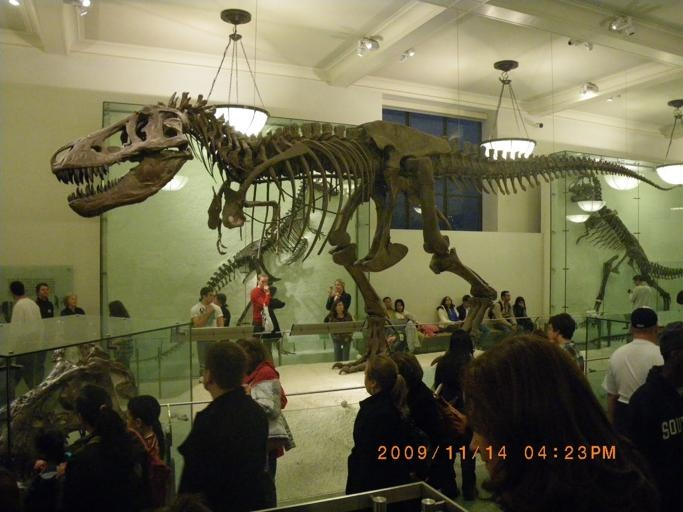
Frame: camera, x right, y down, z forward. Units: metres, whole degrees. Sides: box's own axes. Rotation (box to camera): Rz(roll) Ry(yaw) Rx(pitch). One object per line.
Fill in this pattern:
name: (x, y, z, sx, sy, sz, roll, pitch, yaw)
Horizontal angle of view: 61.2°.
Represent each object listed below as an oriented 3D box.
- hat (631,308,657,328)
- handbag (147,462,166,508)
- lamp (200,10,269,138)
hat: (2.340, 0.455, 4.478, 0.139, 0.105, 0.187, -2, 19, 36)
handbag: (-1.071, 1.335, 3.387, 0.082, 0.220, 0.160, 8, -6, -37)
lamp: (-1.410, -2.402, 7.998, 0.864, 1.801, 2.305, -1, -1, -13)
